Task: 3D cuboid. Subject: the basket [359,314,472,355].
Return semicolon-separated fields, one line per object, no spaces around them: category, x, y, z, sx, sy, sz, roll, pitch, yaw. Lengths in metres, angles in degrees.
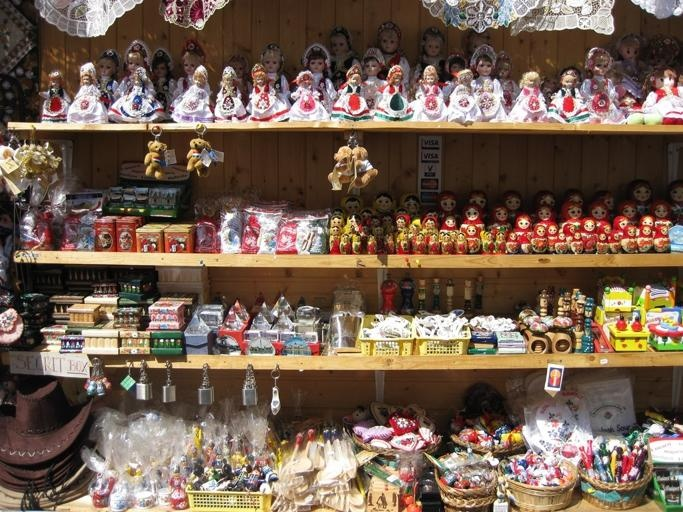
basket;0.439;0.511;4.213;0.478;0.127;0.295;-1;12;-1

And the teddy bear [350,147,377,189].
teddy bear;0.113;-0.543;3.964;0.144;0.188;0.128;-2;8;-45

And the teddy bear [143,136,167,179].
teddy bear;-1.145;-0.604;4.210;0.146;0.262;0.404;-6;5;-15

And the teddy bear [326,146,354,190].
teddy bear;-0.013;-0.506;3.989;0.167;0.248;0.119;8;21;3

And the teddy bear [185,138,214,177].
teddy bear;-0.855;-0.594;4.084;0.139;0.235;0.193;-5;4;-9
